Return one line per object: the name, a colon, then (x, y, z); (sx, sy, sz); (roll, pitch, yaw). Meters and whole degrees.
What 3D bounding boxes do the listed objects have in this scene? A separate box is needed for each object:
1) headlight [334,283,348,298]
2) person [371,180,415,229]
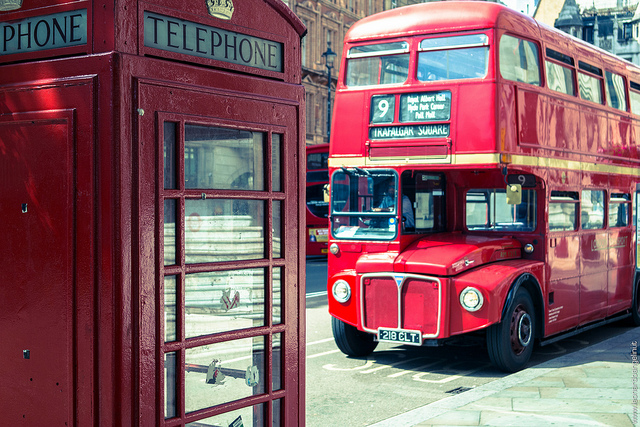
headlight: (0.301, 1.145, 9.693); (0.179, 0.190, 0.059); (-27, -14, 28)
person: (1.075, -0.142, 10.160); (0.610, 0.890, 0.622); (-8, 6, -37)
